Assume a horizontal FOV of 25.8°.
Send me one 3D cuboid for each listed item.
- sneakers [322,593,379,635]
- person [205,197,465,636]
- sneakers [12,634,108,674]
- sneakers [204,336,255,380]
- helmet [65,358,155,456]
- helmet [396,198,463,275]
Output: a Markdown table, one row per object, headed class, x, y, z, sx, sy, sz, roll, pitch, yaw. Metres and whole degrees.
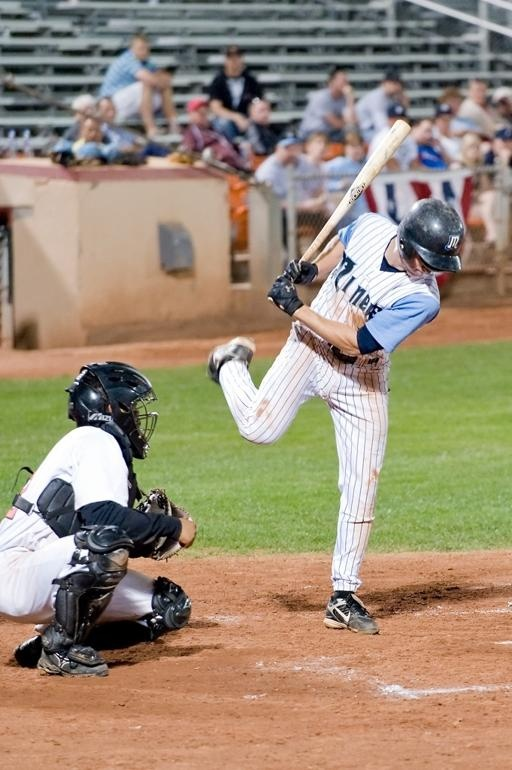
| class | x | y | z | sx | sy | sz | roll | pitch | yaw |
| --- | --- | --- | --- | --- | --- | --- | --- | --- | --- |
| sneakers | 0.329 | 0.805 | 3.930 | 0.088 | 0.112 | 0.239 | 7 | -5 | -40 |
| person | 0.290 | 0.116 | 3.966 | 0.504 | 1.512 | 0.892 | -3 | 9 | -32 |
| sneakers | -0.625 | 0.837 | 3.509 | 0.320 | 0.136 | 0.117 | 0 | 4 | 12 |
| sneakers | -0.087 | -0.122 | 4.226 | 0.130 | 0.178 | 0.141 | 40 | -17 | -21 |
| helmet | -0.447 | 0.073 | 3.528 | 0.341 | 0.301 | 0.264 | 3 | 8 | -27 |
| helmet | 0.555 | -0.463 | 3.659 | 0.196 | 0.141 | 0.242 | -4 | 44 | -35 |
